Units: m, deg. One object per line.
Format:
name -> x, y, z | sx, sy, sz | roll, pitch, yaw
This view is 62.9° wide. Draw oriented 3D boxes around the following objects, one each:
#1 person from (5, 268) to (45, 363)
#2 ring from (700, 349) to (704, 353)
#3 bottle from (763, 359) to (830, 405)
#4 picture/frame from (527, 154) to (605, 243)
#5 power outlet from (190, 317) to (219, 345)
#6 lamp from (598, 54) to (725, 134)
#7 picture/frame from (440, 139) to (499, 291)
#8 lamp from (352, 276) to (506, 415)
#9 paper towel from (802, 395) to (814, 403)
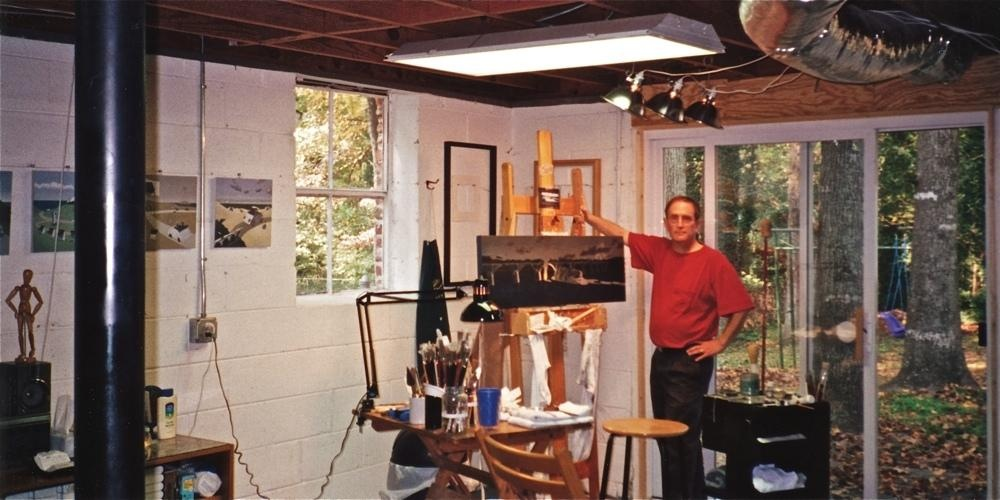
person -> -4.076, 0.563, 7.036 | 0.287, 0.773, 0.270 | -2, 2, -23
ring -> 1.936, 0.967, 7.771 | 0.036, 0.037, 0.012 | -1, 2, 7
bottle -> 2.948, 1.364, 8.267 | 0.559, 0.441, 0.121 | -3, -44, 20
picture/frame -> 0.756, -0.658, 9.153 | 0.770, 0.715, 0.094 | -1, -6, -1
power outlet -> -2.767, 0.760, 7.652 | 0.307, 0.246, 0.170 | 0, 5, -41
lamp -> 1.630, -1.478, 8.174 | 1.375, 0.451, 0.538 | 17, 4, -12
picture/frame -> -0.355, -0.352, 9.132 | 0.734, 1.377, 0.053 | -5, 11, -42
lamp -> -0.691, 0.993, 8.065 | 1.728, 1.392, 0.454 | -3, 1, 25
paper towel -> 3.010, 1.446, 7.962 | 0.094, 0.066, 0.072 | -2, -4, 16
